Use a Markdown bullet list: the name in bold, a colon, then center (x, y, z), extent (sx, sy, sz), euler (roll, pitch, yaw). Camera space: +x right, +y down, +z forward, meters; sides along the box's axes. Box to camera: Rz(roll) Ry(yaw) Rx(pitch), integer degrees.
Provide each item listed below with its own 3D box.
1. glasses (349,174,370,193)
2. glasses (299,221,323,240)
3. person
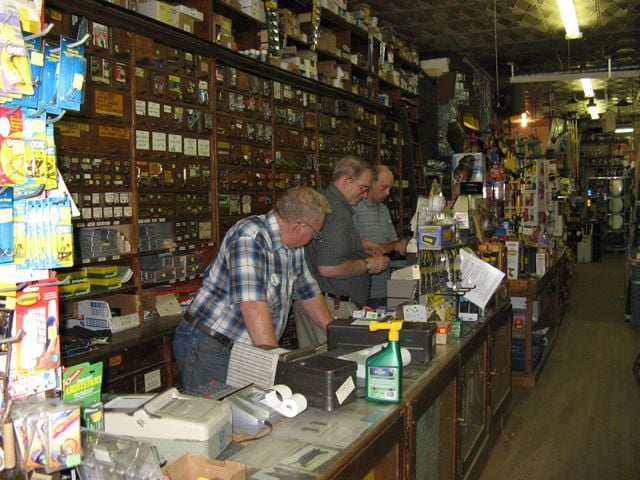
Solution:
- **glasses**: center (0.297, -0.423, 4.055), extent (0.151, 0.099, 0.122), euler (12, 18, 39)
- **glasses**: center (-0.042, -0.059, 2.772), extent (0.027, 0.096, 0.088), euler (-30, 6, -18)
- **person**: center (-0.329, 0.251, 2.936), extent (0.780, 1.068, 0.710), euler (2, 5, 39)
